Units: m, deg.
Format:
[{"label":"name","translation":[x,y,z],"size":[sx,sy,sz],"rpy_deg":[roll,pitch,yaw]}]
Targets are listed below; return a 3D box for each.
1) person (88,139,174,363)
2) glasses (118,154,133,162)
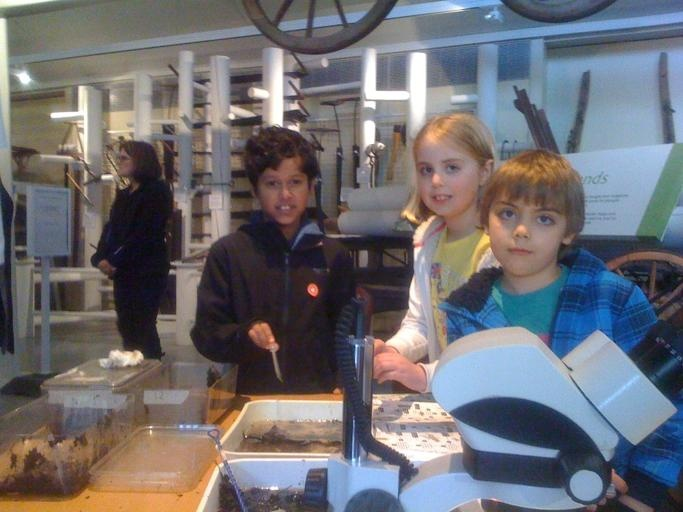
[{"label":"person","translation":[-1.145,-0.018,3.185],"size":[0.443,1.243,0.367],"rpy_deg":[1,9,26]},{"label":"glasses","translation":[-1.167,-0.521,3.068],"size":[0.049,0.016,0.052],"rpy_deg":[5,1,7]}]
